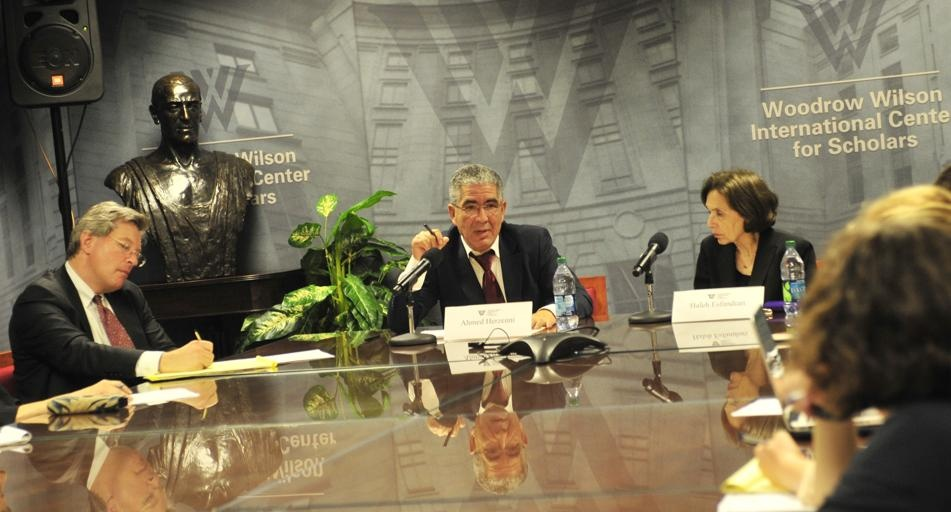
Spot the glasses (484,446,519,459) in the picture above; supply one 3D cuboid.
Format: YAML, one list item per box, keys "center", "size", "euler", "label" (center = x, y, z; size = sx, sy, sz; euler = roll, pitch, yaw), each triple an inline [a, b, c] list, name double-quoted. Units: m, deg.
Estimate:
- center: [0.119, 0.865, 3.327]
  size: [0.155, 0.035, 0.055]
  euler: [-3, 4, -1]
  label: "glasses"

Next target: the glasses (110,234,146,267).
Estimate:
- center: [-2.352, -0.047, 5.060]
  size: [0.203, 0.052, 0.193]
  euler: [32, 8, 31]
  label: "glasses"

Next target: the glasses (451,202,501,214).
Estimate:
- center: [0.005, -0.345, 5.414]
  size: [0.385, 0.114, 0.148]
  euler: [-3, 4, -2]
  label: "glasses"

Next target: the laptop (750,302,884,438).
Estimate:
- center: [1.356, 0.504, 3.159]
  size: [0.579, 0.350, 0.655]
  euler: [-1, 4, 9]
  label: "laptop"

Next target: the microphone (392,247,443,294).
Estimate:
- center: [-0.337, 0.058, 4.917]
  size: [0.181, 0.157, 0.572]
  euler: [6, 25, 31]
  label: "microphone"

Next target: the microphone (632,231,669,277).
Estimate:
- center: [1.389, -0.022, 5.974]
  size: [0.152, 0.148, 0.494]
  euler: [37, 56, 12]
  label: "microphone"
